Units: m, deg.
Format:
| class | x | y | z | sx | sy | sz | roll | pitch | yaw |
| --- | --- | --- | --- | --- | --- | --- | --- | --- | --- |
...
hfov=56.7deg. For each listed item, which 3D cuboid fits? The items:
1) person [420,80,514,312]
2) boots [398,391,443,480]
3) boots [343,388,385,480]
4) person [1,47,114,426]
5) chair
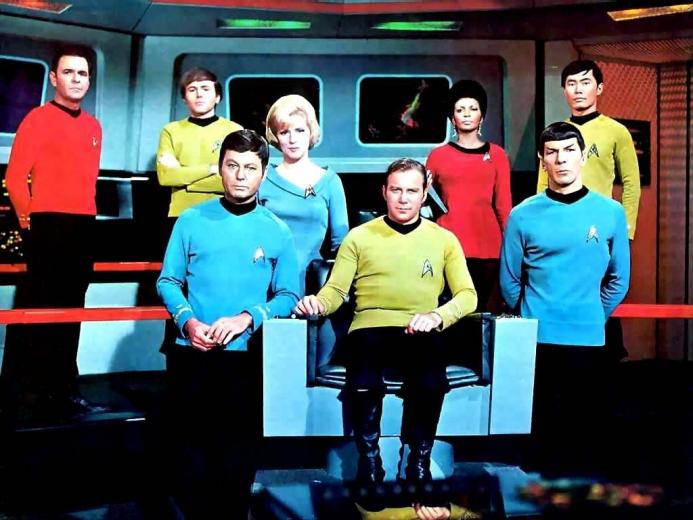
| class | x | y | z | sx | sy | sz | roll | pitch | yaw |
| --- | --- | --- | --- | --- | --- | --- | --- | --- | --- |
| person | 0.685 | -0.163 | 3.485 | 0.499 | 1.555 | 0.460 | -3 | 17 | 2 |
| boots | 0.305 | 0.700 | 2.664 | 0.167 | 0.390 | 0.284 | 1 | 13 | 4 |
| boots | 0.089 | 0.707 | 2.623 | 0.115 | 0.318 | 0.258 | -1 | 3 | 1 |
| person | -1.563 | -0.168 | 3.340 | 0.528 | 1.862 | 0.795 | -3 | 13 | -14 |
| chair | 0.245 | 0.475 | 3.012 | 1.169 | 1.062 | 0.672 | 1 | -10 | -2 |
